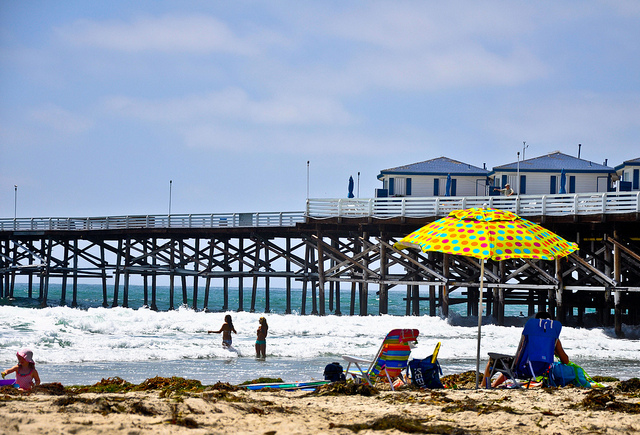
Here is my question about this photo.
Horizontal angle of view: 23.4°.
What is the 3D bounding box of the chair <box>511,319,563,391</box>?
[{"bbox_3d":[7.324,4.754,53.958,1.543,2.525,2.951,-3,-2,-16],"label":"chair"}]
